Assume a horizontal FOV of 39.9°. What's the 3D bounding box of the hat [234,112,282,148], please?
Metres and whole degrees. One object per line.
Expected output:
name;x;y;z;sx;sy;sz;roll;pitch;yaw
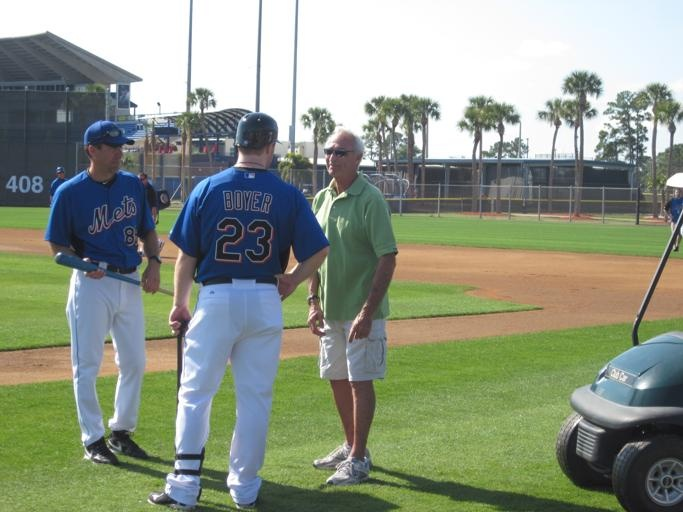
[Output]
hat;-0.571;-0.849;6.382;0.309;0.266;0.233;-19;36;-34

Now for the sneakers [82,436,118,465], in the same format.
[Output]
sneakers;-1.745;1.398;6.748;0.127;0.139;0.292;3;-4;-44

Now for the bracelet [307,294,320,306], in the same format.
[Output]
bracelet;-0.220;0.337;7.089;0.071;0.077;0.072;-4;-6;2

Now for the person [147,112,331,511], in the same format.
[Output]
person;-0.719;0.340;6.305;1.079;2.574;0.549;-1;5;-8

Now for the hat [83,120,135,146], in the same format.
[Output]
hat;-1.744;-0.879;6.941;0.287;0.167;0.222;-4;6;-2

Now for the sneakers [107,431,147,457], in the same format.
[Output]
sneakers;-1.595;1.378;6.940;0.335;0.156;0.141;14;12;28
